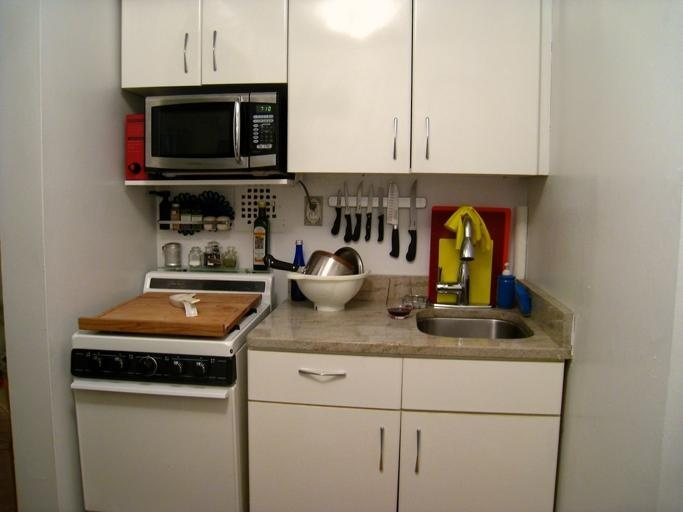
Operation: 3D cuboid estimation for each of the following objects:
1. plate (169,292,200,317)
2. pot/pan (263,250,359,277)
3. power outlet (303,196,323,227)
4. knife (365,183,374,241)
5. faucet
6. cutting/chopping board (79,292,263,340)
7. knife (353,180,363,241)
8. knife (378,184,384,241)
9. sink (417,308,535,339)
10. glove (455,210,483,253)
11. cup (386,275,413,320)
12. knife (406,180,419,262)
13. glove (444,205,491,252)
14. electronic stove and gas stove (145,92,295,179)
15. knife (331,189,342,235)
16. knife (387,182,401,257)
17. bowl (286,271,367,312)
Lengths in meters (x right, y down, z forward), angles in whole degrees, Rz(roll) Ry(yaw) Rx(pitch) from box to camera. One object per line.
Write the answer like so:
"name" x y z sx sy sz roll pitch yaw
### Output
"plate" -0.696 0.206 2.719 0.081 0.079 0.197 0 15 -24
"pot/pan" -0.134 0.041 2.830 0.322 0.135 0.186 5 -1 11
"power outlet" -0.145 -0.228 3.095 0.095 0.147 0.032 1 4 7
"knife" 0.141 -0.214 3.060 0.050 0.284 0.035 -1 9 1
"faucet" 0.557 0.019 2.900 0.184 0.441 0.088 1 1 6
"cutting/chopping board" -0.739 0.183 2.859 0.729 0.163 0.687 6 9 13
"knife" 0.080 -0.231 3.065 0.041 0.307 0.016 0 3 1
"knife" 0.205 -0.206 3.057 0.040 0.280 0.032 -2 9 -5
"sink" 0.624 0.297 2.867 0.430 0.139 0.491 1 5 6
"glove" 0.610 -0.119 2.866 0.143 0.176 0.072 1 11 -12
"cup" 0.301 0.222 3.113 0.136 0.215 0.137 1 0 0
"knife" 0.360 -0.174 3.041 0.064 0.416 0.050 -2 9 -5
"glove" 0.608 -0.122 2.826 0.196 0.222 0.105 -2 1 -15
"electronic stove and gas stove" -0.601 -0.560 2.759 0.637 0.355 0.086 1 9 13
"knife" -0.030 -0.221 3.073 0.042 0.239 0.020 6 7 13
"knife" 0.267 -0.177 3.052 0.060 0.381 0.051 0 9 7
"bowl" -0.084 0.126 2.890 0.306 0.192 0.382 4 9 -8
